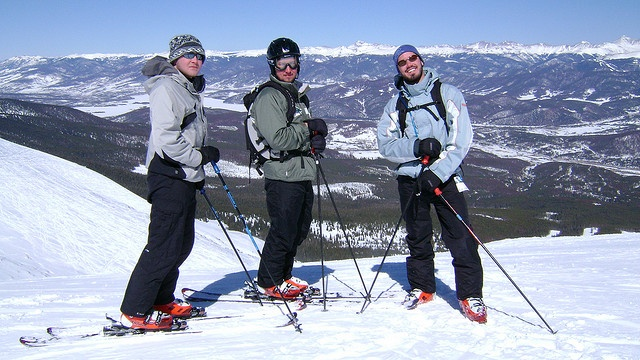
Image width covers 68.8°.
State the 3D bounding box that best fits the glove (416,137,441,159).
[{"bbox_3d":[2.740,-0.796,11.889,0.647,0.545,0.291,3,15,12],"label":"glove"}]

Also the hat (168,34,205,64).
[{"bbox_3d":[-3.501,-3.401,11.878,1.116,0.678,1.053,-5,18,-12],"label":"hat"}]

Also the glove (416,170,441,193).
[{"bbox_3d":[2.745,0.042,11.828,0.606,0.540,0.248,31,-19,-28],"label":"glove"}]

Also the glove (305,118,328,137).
[{"bbox_3d":[-0.113,-1.427,12.473,0.606,0.385,0.222,19,-4,-28],"label":"glove"}]
